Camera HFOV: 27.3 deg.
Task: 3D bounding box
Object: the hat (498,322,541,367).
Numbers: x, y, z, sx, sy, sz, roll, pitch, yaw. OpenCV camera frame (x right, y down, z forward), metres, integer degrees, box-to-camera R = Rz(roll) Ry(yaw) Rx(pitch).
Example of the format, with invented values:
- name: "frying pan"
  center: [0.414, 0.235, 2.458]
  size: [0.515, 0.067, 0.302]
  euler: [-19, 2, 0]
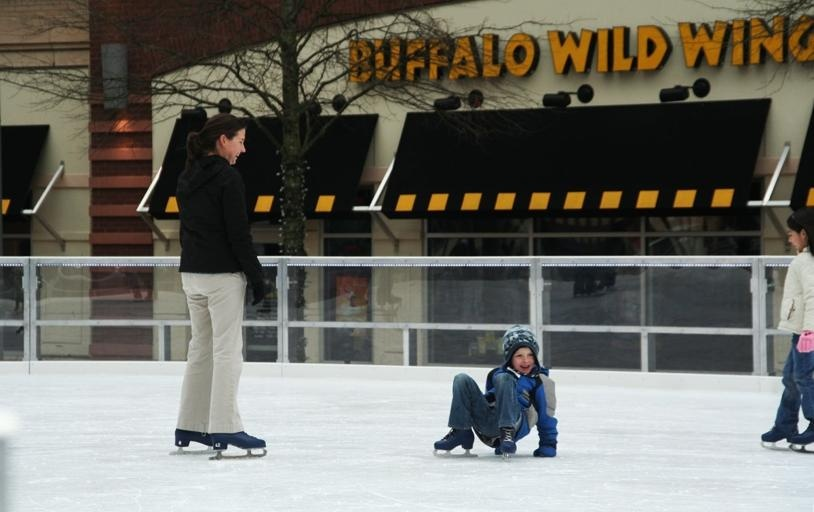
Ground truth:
- name: "hat"
  center: [1.648, 1.313, 24.505]
  size: [0.531, 0.572, 0.694]
  euler: [-2, -32, -10]
